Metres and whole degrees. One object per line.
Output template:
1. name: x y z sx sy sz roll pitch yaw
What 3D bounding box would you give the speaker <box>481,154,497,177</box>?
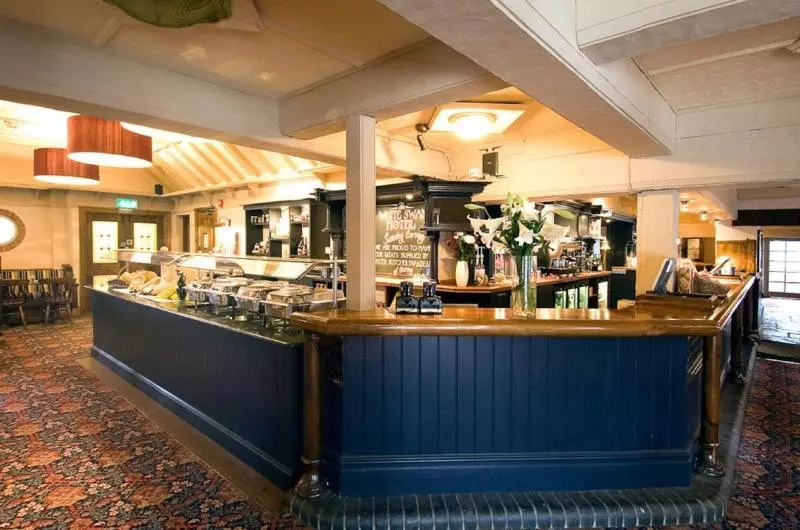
1. speaker: 1.423 -1.578 8.708 0.268 0.381 0.205 0 3 20

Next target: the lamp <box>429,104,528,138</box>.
1. lamp: 0.979 -1.940 7.224 1.110 0.260 0.776 -1 2 -8

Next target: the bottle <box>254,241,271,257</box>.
1. bottle: -2.936 -0.330 11.654 0.485 0.354 0.238 -2 -5 24

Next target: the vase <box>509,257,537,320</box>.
1. vase: 1.164 0.201 5.127 0.220 0.572 0.180 0 3 10

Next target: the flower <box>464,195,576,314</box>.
1. flower: 1.247 -0.050 5.241 1.150 0.995 1.198 -1 4 -39

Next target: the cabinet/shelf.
1. cabinet/shelf: -2.613 -0.645 11.599 0.418 1.196 2.243 -6 2 22

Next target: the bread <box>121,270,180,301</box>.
1. bread: -3.385 0.280 7.386 0.564 0.178 0.684 3 0 -2

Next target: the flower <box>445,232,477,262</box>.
1. flower: 0.971 -0.301 8.917 0.555 0.440 0.514 -3 8 -24

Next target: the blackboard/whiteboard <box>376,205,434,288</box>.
1. blackboard/whiteboard: 0.019 -0.406 10.053 0.034 1.327 1.612 0 1 35

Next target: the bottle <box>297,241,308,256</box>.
1. bottle: -1.952 -0.348 10.969 0.174 0.331 0.373 -2 3 -17
